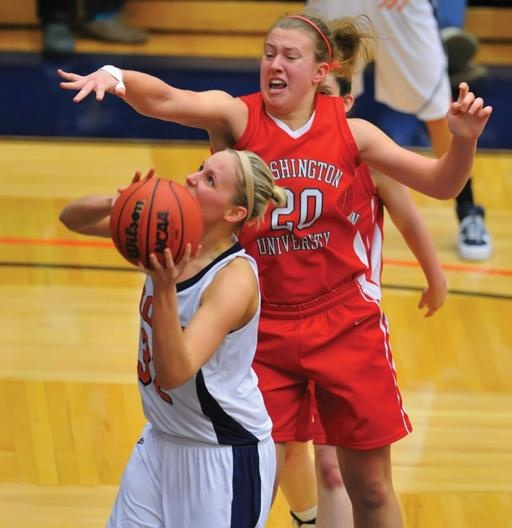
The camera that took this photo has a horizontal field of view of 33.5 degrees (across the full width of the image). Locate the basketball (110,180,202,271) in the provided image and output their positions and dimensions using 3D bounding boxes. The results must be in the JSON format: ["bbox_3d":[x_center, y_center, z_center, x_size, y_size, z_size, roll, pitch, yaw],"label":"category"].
[{"bbox_3d":[-0.196,-0.085,1.682,0.182,0.193,0.170,8,33,-1],"label":"basketball"}]

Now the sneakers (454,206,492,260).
[{"bbox_3d":[0.994,-0.129,3.919,0.117,0.110,0.288,-2,28,5],"label":"sneakers"}]
